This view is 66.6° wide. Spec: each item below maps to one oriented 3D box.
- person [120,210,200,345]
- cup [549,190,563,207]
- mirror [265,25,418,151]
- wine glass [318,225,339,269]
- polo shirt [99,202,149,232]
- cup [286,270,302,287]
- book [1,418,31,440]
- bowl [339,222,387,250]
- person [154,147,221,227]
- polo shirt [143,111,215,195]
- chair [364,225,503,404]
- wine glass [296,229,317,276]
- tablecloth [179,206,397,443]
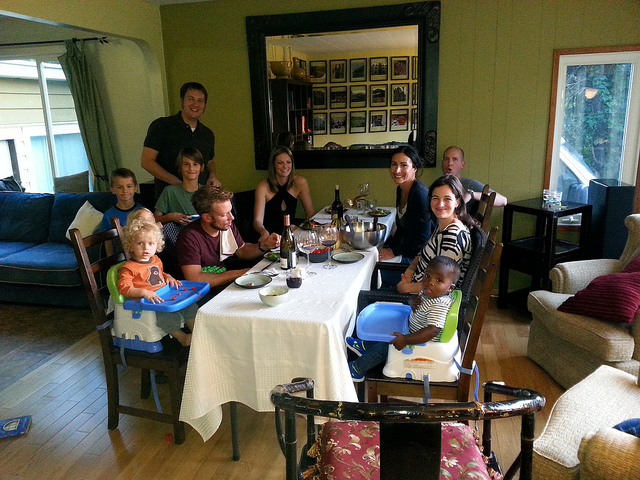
[{"bbox_3d":[-0.935,0.208,2.772,0.433,0.716,0.358,14,21,33],"label":"person"},{"bbox_3d":[1.985,-0.349,4.124,0.152,0.117,0.141,0,4,0],"label":"cup"},{"bbox_3d":[0.207,-1.427,4.539,1.679,1.250,0.035,3,15,18],"label":"mirror"},{"bbox_3d":[0.071,0.061,2.949,0.110,0.238,0.109,-1,-27,15],"label":"wine glass"},{"bbox_3d":[-1.622,-0.187,4.068,0.334,0.205,0.450,-16,22,-38],"label":"polo shirt"},{"bbox_3d":[-0.140,0.203,2.656,0.079,0.078,0.080,1,12,0],"label":"cup"},{"bbox_3d":[-1.835,1.127,2.941,0.163,0.026,0.218,-9,19,-23],"label":"book"},{"bbox_3d":[0.281,-0.021,3.226,0.229,0.115,0.230,0,16,0],"label":"bowl"},{"bbox_3d":[-0.996,-0.328,3.714,0.510,0.747,0.418,-6,14,-28],"label":"person"},{"bbox_3d":[-1.206,-0.756,4.355,0.697,0.688,0.398,3,-1,-40],"label":"polo shirt"},{"bbox_3d":[0.669,0.253,3.019,0.841,1.470,0.800,3,14,14],"label":"chair"},{"bbox_3d":[-0.075,0.077,2.865,0.140,0.270,0.139,6,10,32],"label":"wine glass"},{"bbox_3d":[-0.213,0.604,2.727,0.888,0.816,0.823,1,18,10],"label":"tablecloth"}]
